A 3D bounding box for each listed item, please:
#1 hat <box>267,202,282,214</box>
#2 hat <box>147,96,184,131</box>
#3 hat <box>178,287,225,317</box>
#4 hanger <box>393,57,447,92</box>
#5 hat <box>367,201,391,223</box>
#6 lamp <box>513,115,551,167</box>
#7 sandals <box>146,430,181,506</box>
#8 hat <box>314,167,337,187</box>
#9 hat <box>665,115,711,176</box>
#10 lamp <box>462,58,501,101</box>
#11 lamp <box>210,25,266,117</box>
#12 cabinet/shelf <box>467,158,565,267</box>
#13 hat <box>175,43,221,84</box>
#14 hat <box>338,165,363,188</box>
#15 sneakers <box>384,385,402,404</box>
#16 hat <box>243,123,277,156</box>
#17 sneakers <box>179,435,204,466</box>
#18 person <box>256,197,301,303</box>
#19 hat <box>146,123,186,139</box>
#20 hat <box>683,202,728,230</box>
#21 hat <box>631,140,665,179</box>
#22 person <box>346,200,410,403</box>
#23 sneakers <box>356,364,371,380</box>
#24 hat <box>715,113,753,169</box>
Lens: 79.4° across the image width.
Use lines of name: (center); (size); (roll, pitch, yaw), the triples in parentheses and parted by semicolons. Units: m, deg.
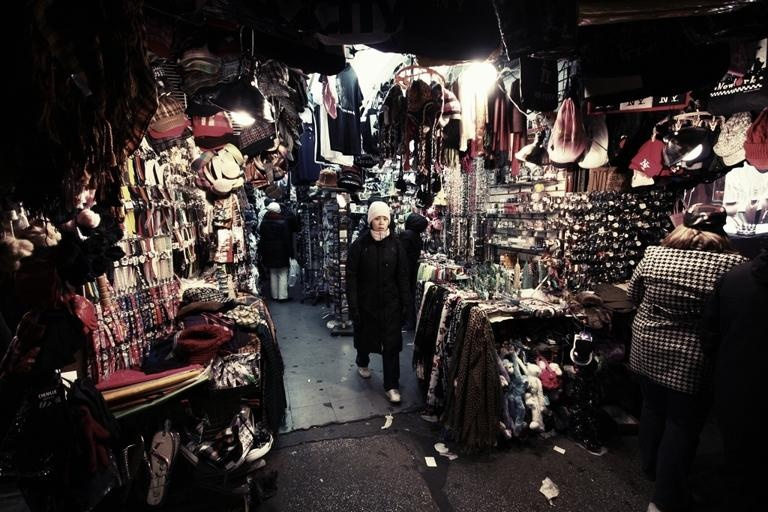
hat: (-1.939, -0.850, 8.253); (0.262, 0.201, 0.190); (-11, 20, -30)
hat: (-1.440, -0.950, 3.083); (0.230, 0.227, 0.220); (-5, 13, -24)
hat: (-1.340, 0.330, 3.428); (0.249, 0.081, 0.245); (0, 4, -38)
hanger: (0.246, -1.571, 3.973); (0.341, 0.240, 0.461); (-10, 16, -41)
hat: (-0.055, -0.435, 4.583); (0.198, 0.164, 0.206); (1, 8, 1)
lamp: (1.354, -1.061, 4.236); (0.251, 0.421, 0.360); (6, 18, -10)
sandals: (-1.298, 1.239, 2.747); (0.197, 0.380, 0.077); (7, 0, 12)
hat: (-0.768, -1.054, 6.245); (0.301, 0.193, 0.316); (2, 23, -10)
hat: (2.638, -0.975, 4.034); (0.437, 0.486, 0.187); (-4, 14, -22)
lamp: (0.850, -1.582, 4.154); (0.337, 0.254, 0.246); (3, 12, 9)
lamp: (-0.979, -1.206, 3.030); (0.388, 0.640, 0.422); (2, 26, -27)
cabinet/shelf: (1.333, -0.449, 4.636); (0.316, 0.999, 1.064); (2, -4, -30)
hat: (-1.122, -1.167, 2.770); (0.229, 0.169, 0.083); (2, 2, 0)
hat: (-0.464, -1.008, 6.036); (0.321, 0.300, 0.247); (2, 12, 6)
sneakers: (0.074, 1.335, 4.453); (0.113, 0.117, 0.289); (0, -11, -10)
hat: (-1.038, -0.944, 3.783); (0.414, 0.247, 0.198); (11, 16, 40)
sneakers: (-1.174, 1.186, 2.799); (0.108, 0.138, 0.079); (-4, 13, -20)
person: (-1.913, -0.043, 8.119); (0.577, 1.692, 0.702); (-3, 13, -16)
hat: (-1.511, -0.859, 3.231); (0.181, 0.054, 0.128); (-12, 6, -38)
hat: (2.149, -0.288, 3.125); (0.190, 0.127, 0.219); (7, 10, 10)
hat: (2.327, -0.861, 4.071); (0.245, 0.240, 0.133); (25, 28, -7)
person: (-0.012, 0.416, 4.546); (0.696, 1.856, 0.464); (10, 16, 35)
sneakers: (-0.228, 1.237, 4.929); (0.124, 0.127, 0.306); (1, -8, -16)
hat: (2.992, -1.001, 3.997); (0.239, 0.447, 0.185); (9, 15, 34)
